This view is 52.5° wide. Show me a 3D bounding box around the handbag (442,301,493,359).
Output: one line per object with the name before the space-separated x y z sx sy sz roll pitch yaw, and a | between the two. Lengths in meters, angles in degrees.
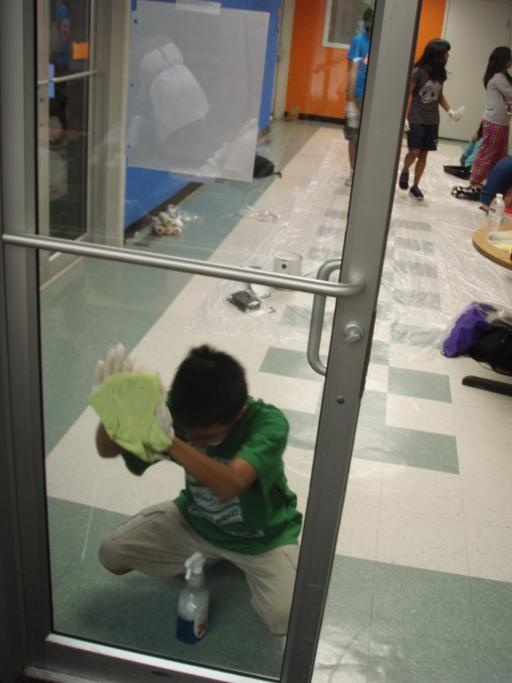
handbag | 1.300 -0.079 3.208 0.129 0.363 0.275 41 -12 -19

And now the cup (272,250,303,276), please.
cup | 0.055 -0.133 0.888 0.039 0.033 0.043 6 28 -3

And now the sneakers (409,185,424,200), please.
sneakers | 1.877 -1.739 6.101 0.081 0.106 0.238 -9 31 -9

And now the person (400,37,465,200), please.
person | 1.885 -2.428 5.827 0.455 1.628 1.044 13 23 15

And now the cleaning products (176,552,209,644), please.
cleaning products | -0.149 0.613 1.244 0.072 0.208 0.075 4 10 -11

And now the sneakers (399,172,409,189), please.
sneakers | 1.793 -1.949 6.315 0.085 0.117 0.273 2 39 7
